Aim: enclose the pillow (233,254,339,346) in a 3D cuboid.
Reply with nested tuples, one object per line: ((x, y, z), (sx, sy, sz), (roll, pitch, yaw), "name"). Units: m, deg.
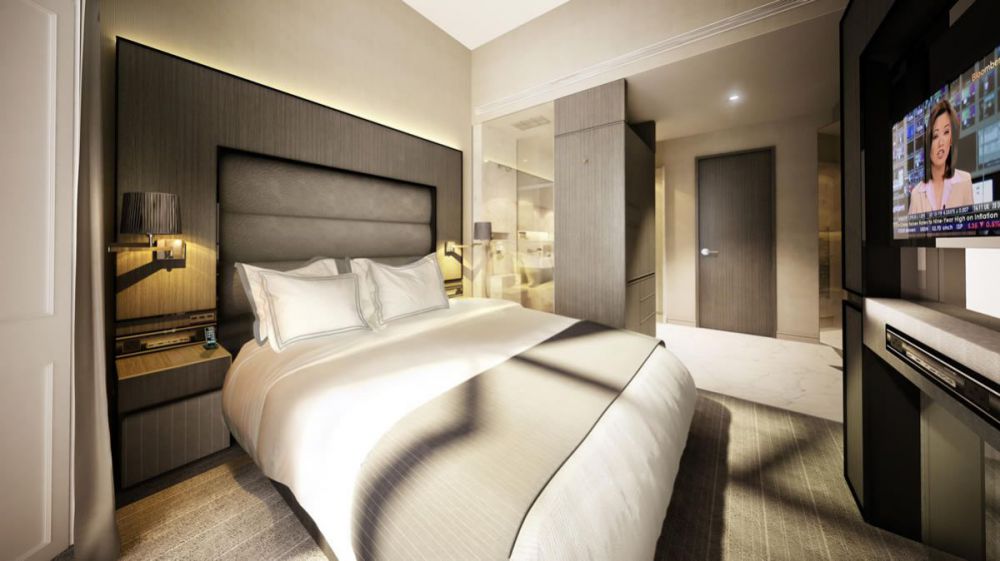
((-1.865, 0.182, 4.582), (0.699, 0.711, 0.209), (-4, -23, -47), "pillow")

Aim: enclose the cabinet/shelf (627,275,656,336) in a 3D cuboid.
((1.473, 0.268, 5.924), (0.217, 0.619, 0.678), (-2, 0, 27), "cabinet/shelf")

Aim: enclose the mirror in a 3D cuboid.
((3.577, -0.480, 6.122), (0.242, 2.421, 0.439), (-2, 8, 28), "mirror")

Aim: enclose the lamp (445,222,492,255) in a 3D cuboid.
((-0.361, -0.465, 6.186), (0.639, 0.400, 0.258), (-1, -2, 31), "lamp")
